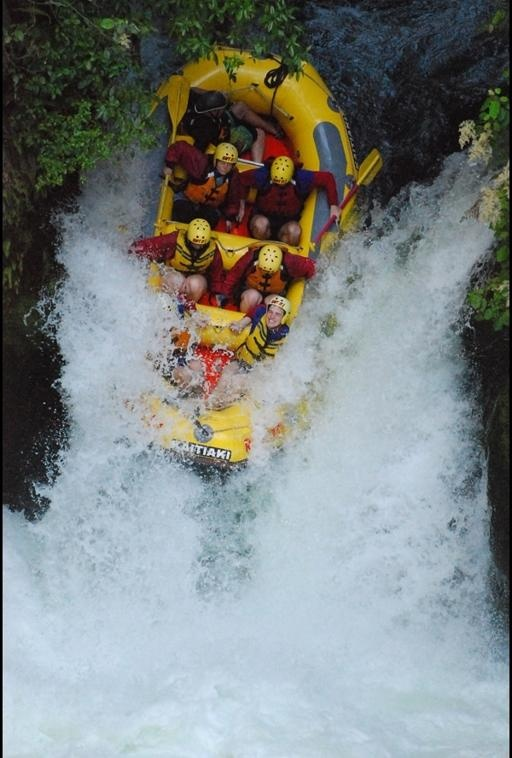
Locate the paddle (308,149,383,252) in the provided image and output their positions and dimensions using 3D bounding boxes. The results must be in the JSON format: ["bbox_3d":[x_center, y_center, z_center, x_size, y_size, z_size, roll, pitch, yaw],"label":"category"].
[{"bbox_3d":[0.824,-1.680,8.460,0.198,1.310,0.152,40,-9,-11],"label":"paddle"}]

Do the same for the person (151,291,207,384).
[{"bbox_3d":[-0.658,-0.336,8.030,0.491,0.758,0.165,3,2,19],"label":"person"}]

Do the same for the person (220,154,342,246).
[{"bbox_3d":[0.236,-1.563,8.448,1.046,1.164,0.608,12,49,5],"label":"person"}]

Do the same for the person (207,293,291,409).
[{"bbox_3d":[-0.071,-0.209,8.017,0.666,0.969,0.326,3,12,14],"label":"person"}]

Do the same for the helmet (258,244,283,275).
[{"bbox_3d":[0.112,-1.049,7.893,0.203,0.246,0.201,7,4,-6],"label":"helmet"}]

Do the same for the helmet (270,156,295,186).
[{"bbox_3d":[0.244,-1.872,8.103,0.207,0.260,0.221,10,8,7],"label":"helmet"}]

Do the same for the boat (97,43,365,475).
[{"bbox_3d":[-0.133,-1.180,8.515,2.619,3.516,0.683,12,-1,-10],"label":"boat"}]

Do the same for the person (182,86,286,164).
[{"bbox_3d":[-0.234,-2.380,8.326,0.830,0.518,0.445,5,0,-6],"label":"person"}]

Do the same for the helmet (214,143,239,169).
[{"bbox_3d":[-0.271,-2.014,8.042,0.186,0.207,0.208,14,47,1],"label":"helmet"}]

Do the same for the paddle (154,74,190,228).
[{"bbox_3d":[-0.786,-2.109,8.156,0.438,1.316,0.227,5,16,-8],"label":"paddle"}]

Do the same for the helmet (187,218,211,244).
[{"bbox_3d":[-0.505,-1.289,7.839,0.185,0.178,0.225,10,48,-16],"label":"helmet"}]

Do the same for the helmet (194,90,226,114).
[{"bbox_3d":[-0.420,-2.528,8.182,0.269,0.176,0.134,-14,-23,-13],"label":"helmet"}]
